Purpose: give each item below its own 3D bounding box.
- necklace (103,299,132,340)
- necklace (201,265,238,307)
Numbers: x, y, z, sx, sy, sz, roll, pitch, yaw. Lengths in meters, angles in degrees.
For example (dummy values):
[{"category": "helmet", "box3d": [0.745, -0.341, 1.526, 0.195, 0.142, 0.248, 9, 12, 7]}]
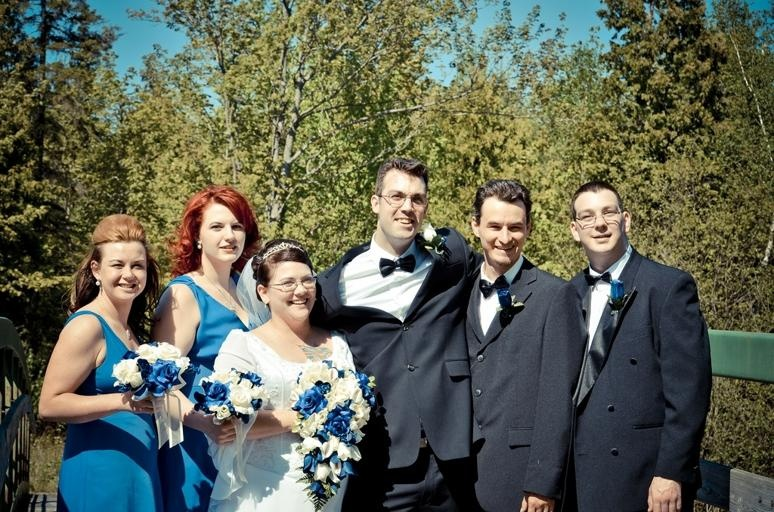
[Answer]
[{"category": "necklace", "box3d": [-2.570, 0.611, 6.531, 0.245, 0.344, 0.103, -30, 3, -37]}, {"category": "necklace", "box3d": [-1.752, 0.315, 7.079, 0.305, 0.322, 0.173, 19, -27, -36]}]
